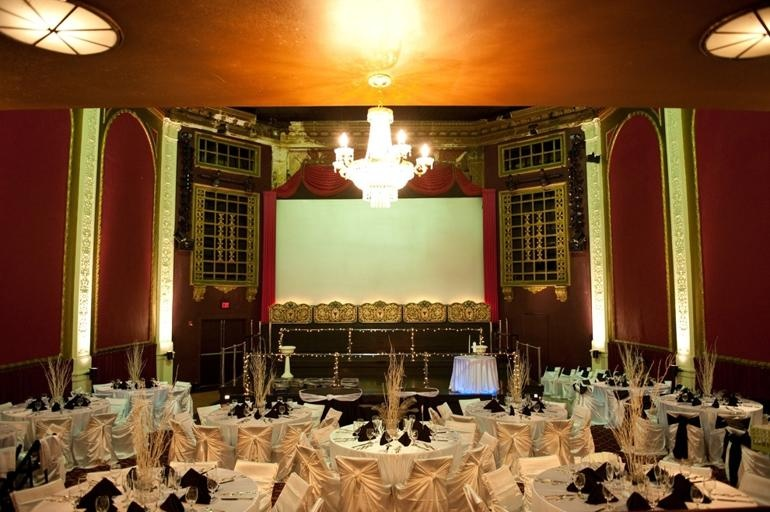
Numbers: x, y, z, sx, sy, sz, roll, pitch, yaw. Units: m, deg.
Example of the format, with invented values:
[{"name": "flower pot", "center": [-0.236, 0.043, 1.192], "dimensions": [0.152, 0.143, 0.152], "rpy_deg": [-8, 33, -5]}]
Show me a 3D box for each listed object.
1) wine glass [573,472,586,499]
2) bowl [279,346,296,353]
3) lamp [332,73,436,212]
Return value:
[{"name": "wine glass", "center": [2.060, 2.405, 6.222], "dimensions": [0.108, 0.194, 0.211], "rpy_deg": [-1, -10, 9]}, {"name": "bowl", "center": [-2.190, 2.124, 13.284], "dimensions": [0.265, 0.155, 0.374], "rpy_deg": [4, -11, -23]}, {"name": "lamp", "center": [-0.068, -2.068, 10.200], "dimensions": [1.729, 2.292, 1.841], "rpy_deg": [0, 0, -13]}]
